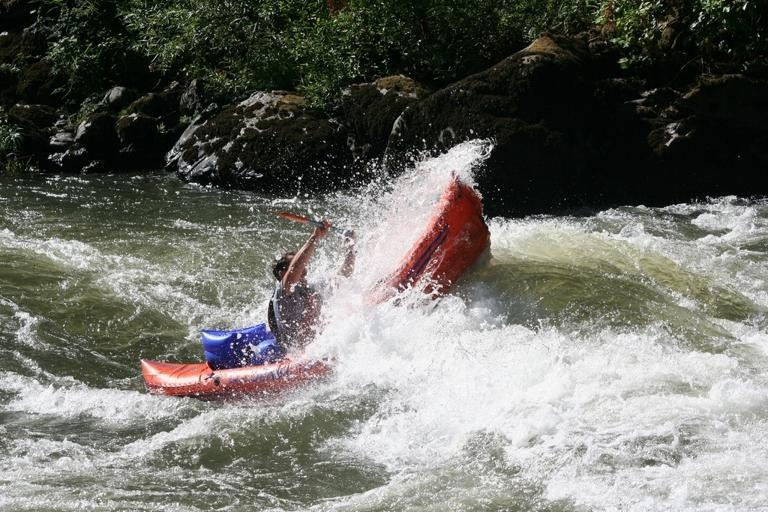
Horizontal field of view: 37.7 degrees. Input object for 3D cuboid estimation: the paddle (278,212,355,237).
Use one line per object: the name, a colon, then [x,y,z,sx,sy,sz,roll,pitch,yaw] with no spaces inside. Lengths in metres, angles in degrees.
paddle: [-1.197,-0.545,19.936,0.204,0.191,1.426,0,-18,46]

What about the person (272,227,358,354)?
person: [-1.346,0.462,17.583,0.843,2.048,0.544,7,12,-5]
